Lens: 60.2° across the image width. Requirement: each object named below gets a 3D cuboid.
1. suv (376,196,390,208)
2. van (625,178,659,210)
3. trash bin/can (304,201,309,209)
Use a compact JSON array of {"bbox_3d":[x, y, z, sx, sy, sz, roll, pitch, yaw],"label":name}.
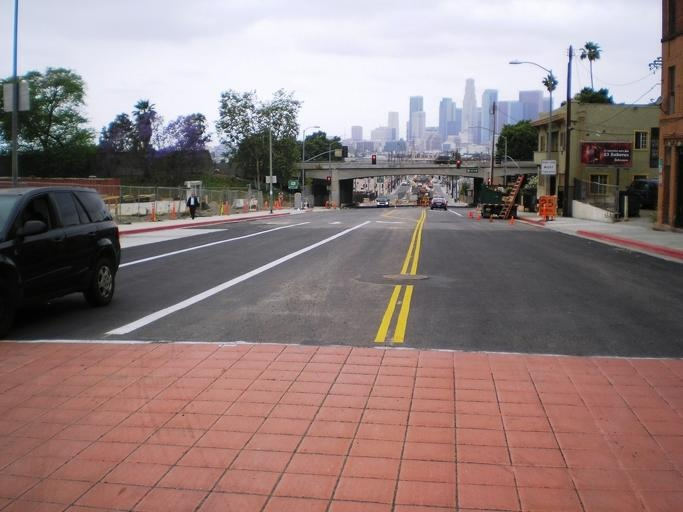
[{"bbox_3d":[6.374,-8.266,90.785,1.569,1.461,2.479,0,7,-2],"label":"suv"},{"bbox_3d":[22.489,-4.793,44.763,1.924,2.296,3.688,1,16,10],"label":"van"},{"bbox_3d":[-4.494,-6.555,75.744,0.699,0.896,0.752,0,0,-5],"label":"trash bin/can"}]
